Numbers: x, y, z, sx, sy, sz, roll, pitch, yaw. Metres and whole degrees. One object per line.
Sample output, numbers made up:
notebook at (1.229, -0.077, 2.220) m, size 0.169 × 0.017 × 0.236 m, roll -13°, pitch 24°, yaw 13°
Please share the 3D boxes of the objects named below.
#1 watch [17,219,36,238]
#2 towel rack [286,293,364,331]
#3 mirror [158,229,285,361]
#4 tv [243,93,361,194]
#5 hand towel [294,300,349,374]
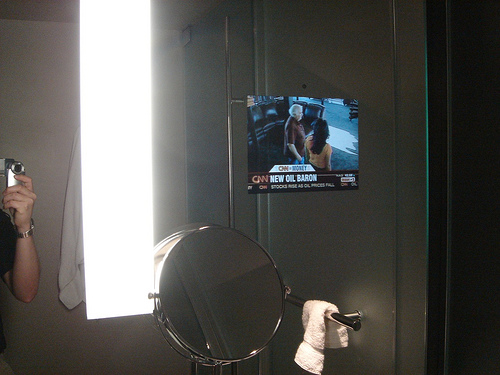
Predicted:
watch at (-0.549, 0.099, 1.246) m, size 0.033 × 0.043 × 0.015 m, roll -4°, pitch 3°, yaw -4°
towel rack at (0.215, 0.371, 1.536) m, size 0.106 × 0.059 × 0.291 m, roll 11°, pitch 5°, yaw -34°
mirror at (-0.081, 0.295, 1.398) m, size 0.309 × 0.365 × 0.080 m, roll -28°, pitch 7°, yaw -31°
tv at (0.138, -0.135, 1.498) m, size 0.256 × 0.225 × 0.004 m, roll -1°, pitch 3°, yaw -11°
hand towel at (0.205, 0.438, 1.500) m, size 0.115 × 0.236 × 0.227 m, roll -1°, pitch 0°, yaw -16°
